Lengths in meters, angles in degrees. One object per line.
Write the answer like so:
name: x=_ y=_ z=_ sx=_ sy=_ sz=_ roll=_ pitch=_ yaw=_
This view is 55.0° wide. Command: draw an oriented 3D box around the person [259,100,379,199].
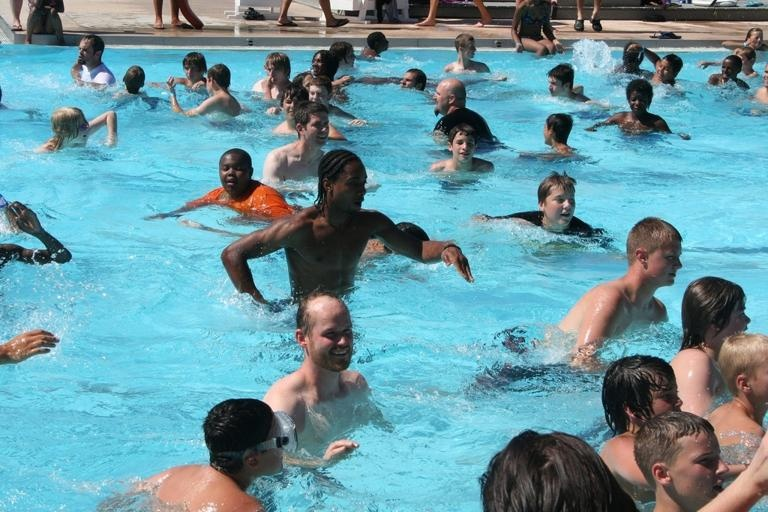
person: x=-0.936 y=-1.388 z=9.907 sx=1.481 sy=1.193 sz=0.914 roll=-2 pitch=13 yaw=-29

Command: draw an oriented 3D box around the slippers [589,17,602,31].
slippers: x=5.548 y=-6.044 z=19.295 sx=0.212 sy=0.182 sz=0.460 roll=-7 pitch=37 yaw=-2

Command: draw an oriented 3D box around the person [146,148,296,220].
person: x=-2.148 y=-0.910 z=9.716 sx=1.621 sy=0.556 sz=0.561 roll=-6 pitch=-8 yaw=7

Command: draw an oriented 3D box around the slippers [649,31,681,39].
slippers: x=6.988 y=-5.462 z=18.322 sx=0.708 sy=0.157 sz=0.347 roll=0 pitch=12 yaw=2

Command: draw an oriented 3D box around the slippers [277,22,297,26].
slippers: x=-2.417 y=-5.800 z=18.529 sx=0.424 sy=0.081 sz=0.185 roll=-2 pitch=13 yaw=-7

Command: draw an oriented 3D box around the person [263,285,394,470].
person: x=-0.514 y=0.951 z=5.860 sx=0.562 sy=1.287 sz=0.897 roll=12 pitch=17 yaw=27
